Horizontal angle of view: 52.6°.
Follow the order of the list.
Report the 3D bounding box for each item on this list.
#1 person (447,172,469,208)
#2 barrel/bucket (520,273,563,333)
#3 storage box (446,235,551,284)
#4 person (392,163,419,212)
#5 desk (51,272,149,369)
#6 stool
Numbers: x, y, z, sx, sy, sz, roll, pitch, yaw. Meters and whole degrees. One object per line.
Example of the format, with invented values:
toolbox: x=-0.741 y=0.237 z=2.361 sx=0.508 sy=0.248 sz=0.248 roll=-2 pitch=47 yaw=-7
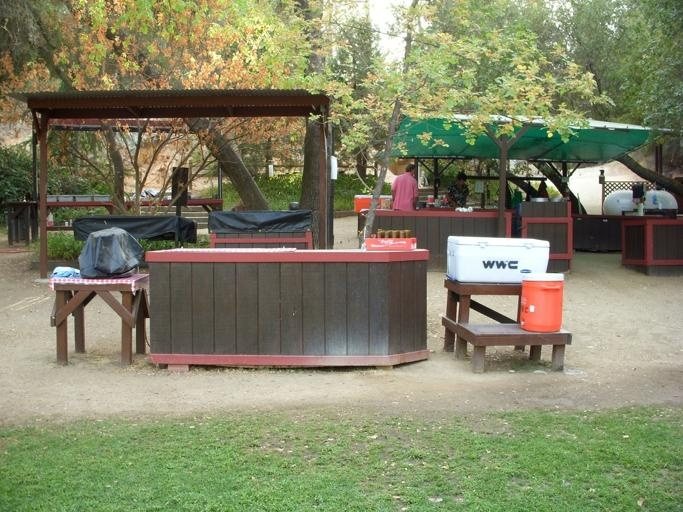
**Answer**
person: x=3.392 y=-2.007 z=19.999 sx=0.532 sy=0.373 sz=1.227 roll=20 pitch=26 yaw=0
barrel/bucket: x=2.739 y=0.627 z=9.460 sx=0.616 sy=0.768 sz=0.798 roll=0 pitch=0 yaw=-19
storage box: x=2.216 y=0.069 z=9.725 sx=1.294 sy=0.638 sz=0.185 roll=2 pitch=9 yaw=10
person: x=1.616 y=-1.773 z=17.844 sx=0.629 sy=1.199 sz=1.075 roll=1 pitch=9 yaw=4
desk: x=-3.401 y=0.901 z=9.988 sx=1.394 sy=1.259 sz=1.356 roll=1 pitch=-1 yaw=-9
stool: x=2.176 y=0.956 z=9.814 sx=1.218 sy=0.901 sz=1.629 roll=0 pitch=-3 yaw=-8
